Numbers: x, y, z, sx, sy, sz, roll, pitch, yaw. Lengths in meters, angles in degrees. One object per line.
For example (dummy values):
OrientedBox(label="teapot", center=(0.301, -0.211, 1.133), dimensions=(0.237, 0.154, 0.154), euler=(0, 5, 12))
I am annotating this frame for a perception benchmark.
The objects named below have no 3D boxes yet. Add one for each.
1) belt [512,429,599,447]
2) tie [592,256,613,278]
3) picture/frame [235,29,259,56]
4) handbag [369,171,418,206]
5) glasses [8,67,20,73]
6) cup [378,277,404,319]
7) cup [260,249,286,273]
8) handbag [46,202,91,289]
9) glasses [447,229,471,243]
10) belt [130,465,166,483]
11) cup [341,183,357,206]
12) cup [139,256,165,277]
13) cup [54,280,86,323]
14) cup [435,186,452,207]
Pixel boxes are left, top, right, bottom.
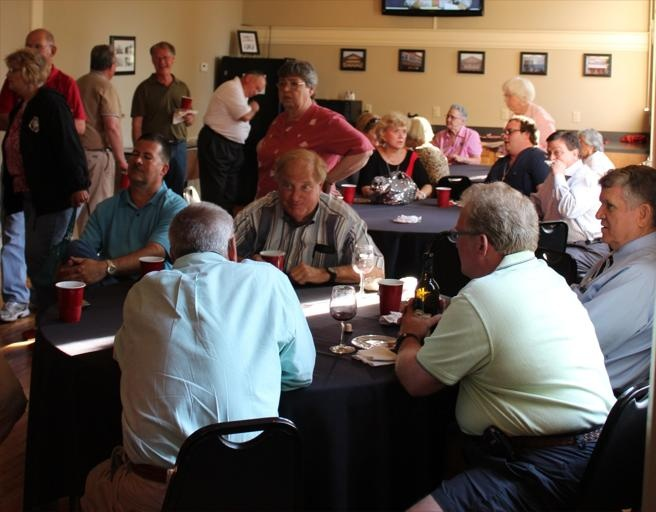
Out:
OrientedBox(label="belt", center=(0.666, 0.526, 1.505), dimensions=(0.204, 0.060, 0.038), euler=(-2, 25, -1))
OrientedBox(label="tie", center=(1.185, 0.045, 2.254), dimensions=(0.033, 0.113, 0.063), euler=(24, 16, -11))
OrientedBox(label="picture/frame", center=(-1.361, -3.569, 8.709), dimensions=(0.033, 0.498, 0.419), euler=(2, 16, 44))
OrientedBox(label="handbag", center=(0.550, -0.543, 4.213), dimensions=(0.301, 0.210, 0.253), euler=(-2, 16, -10))
OrientedBox(label="glasses", center=(-2.006, -1.192, 3.344), dimensions=(0.056, 0.020, 0.061), euler=(5, 8, 14))
OrientedBox(label="cup", center=(0.244, 0.164, 2.027), dimensions=(0.110, 0.140, 0.118), euler=(1, 3, 0))
OrientedBox(label="cup", center=(-0.243, 0.025, 2.273), dimensions=(0.074, 0.081, 0.103), euler=(1, 5, 7))
OrientedBox(label="handbag", center=(-1.480, -0.063, 2.945), dimensions=(0.116, 0.538, 0.140), euler=(23, -1, 17))
OrientedBox(label="glasses", center=(0.434, -0.068, 1.712), dimensions=(0.077, 0.027, 0.078), euler=(0, 4, -9))
OrientedBox(label="belt", center=(-0.488, 0.585, 1.418), dimensions=(0.069, 0.028, 0.052), euler=(11, 6, -25))
OrientedBox(label="cup", center=(0.159, -0.488, 4.174), dimensions=(0.153, 0.169, 0.160), euler=(-3, 14, 1))
OrientedBox(label="cup", center=(-0.740, 0.034, 2.225), dimensions=(0.116, 0.098, 0.114), euler=(2, 10, 0))
OrientedBox(label="cup", center=(-0.933, 0.162, 1.888), dimensions=(0.129, 0.158, 0.127), euler=(0, 4, 0))
OrientedBox(label="cup", center=(0.921, -0.481, 4.212), dimensions=(0.140, 0.156, 0.140), euler=(-1, 11, 0))
